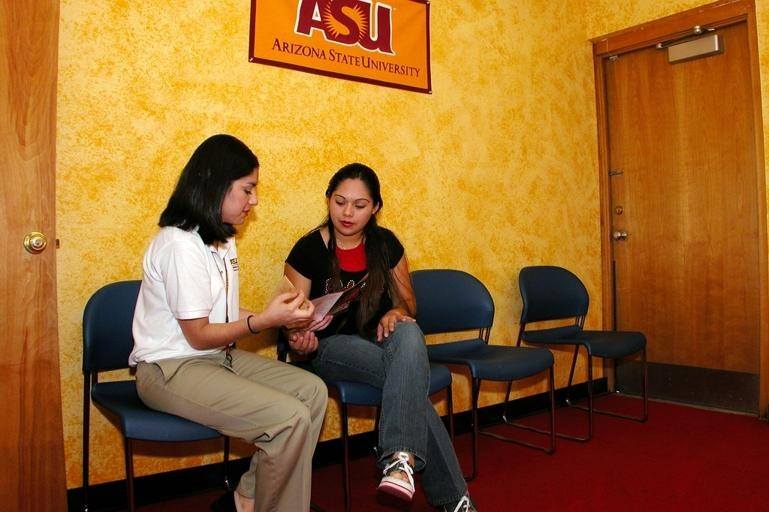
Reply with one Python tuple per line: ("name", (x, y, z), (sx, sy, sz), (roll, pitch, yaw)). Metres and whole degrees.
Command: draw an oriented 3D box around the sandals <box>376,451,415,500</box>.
("sandals", (0.054, 0.988, 2.756), (0.125, 0.111, 0.263), (4, -22, 6))
